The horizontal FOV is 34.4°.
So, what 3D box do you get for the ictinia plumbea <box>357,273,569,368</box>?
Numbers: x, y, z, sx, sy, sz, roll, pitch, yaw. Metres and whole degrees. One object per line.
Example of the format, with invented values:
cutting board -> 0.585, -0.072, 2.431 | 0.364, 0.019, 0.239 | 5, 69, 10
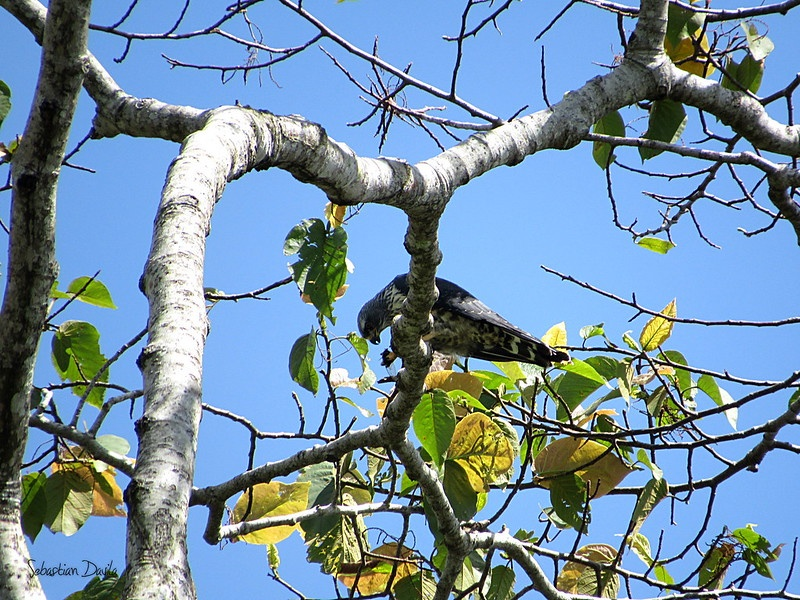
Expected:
ictinia plumbea -> 0.430, 0.168, 9.713 | 1.553, 0.806, 0.597 | -1, -36, 15
